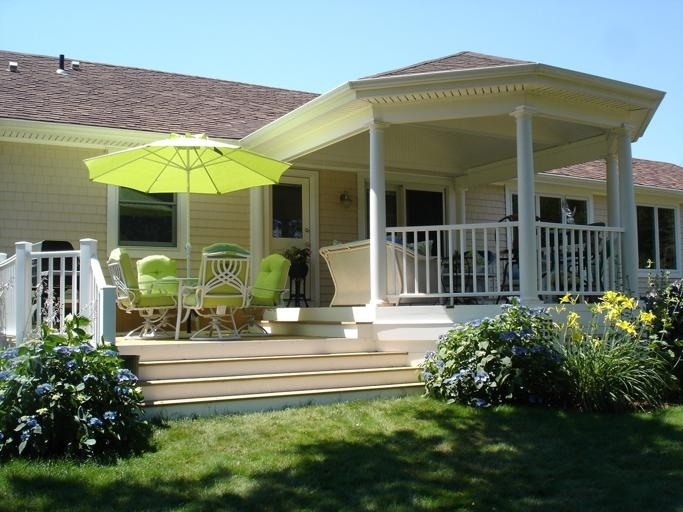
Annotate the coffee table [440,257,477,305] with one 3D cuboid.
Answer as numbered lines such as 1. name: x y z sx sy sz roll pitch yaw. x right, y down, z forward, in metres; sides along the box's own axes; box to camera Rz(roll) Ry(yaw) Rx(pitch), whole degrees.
1. coffee table: 2.046 0.472 11.105 0.824 0.887 0.712 -5 -13 4

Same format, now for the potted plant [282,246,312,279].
1. potted plant: -0.725 0.112 11.600 0.633 0.573 0.525 0 -1 0

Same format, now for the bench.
1. bench: 2.968 0.115 8.968 1.481 0.933 0.752 0 0 -11

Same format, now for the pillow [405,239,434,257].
1. pillow: 1.203 -0.141 9.814 0.401 0.155 0.362 -2 -2 16
